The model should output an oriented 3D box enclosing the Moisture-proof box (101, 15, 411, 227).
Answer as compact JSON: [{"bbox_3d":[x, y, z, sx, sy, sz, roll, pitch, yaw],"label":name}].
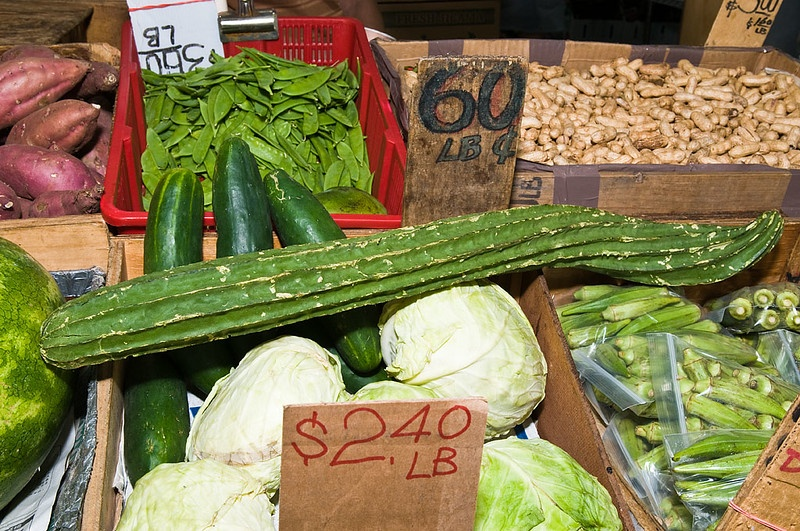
[{"bbox_3d":[-0.822,-0.782,4.177,1.447,0.452,1.328,2,61,-12],"label":"Moisture-proof box"}]
